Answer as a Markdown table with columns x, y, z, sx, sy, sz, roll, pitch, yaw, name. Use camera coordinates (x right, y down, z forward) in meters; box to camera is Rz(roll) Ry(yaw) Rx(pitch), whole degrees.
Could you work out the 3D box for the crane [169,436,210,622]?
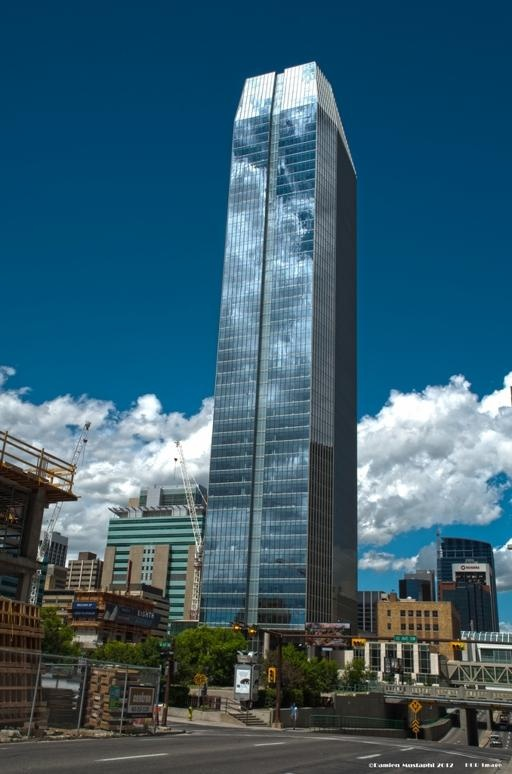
| x | y | z | sx | sy | sz | roll | pitch | yaw | name |
| --- | --- | --- | --- | --- | --- | --- | --- | --- | --- |
| -21.318 | 52.850 | 209.001 | 5.917 | 80.095 | 13.072 | -8 | -12 | 42 | crane |
